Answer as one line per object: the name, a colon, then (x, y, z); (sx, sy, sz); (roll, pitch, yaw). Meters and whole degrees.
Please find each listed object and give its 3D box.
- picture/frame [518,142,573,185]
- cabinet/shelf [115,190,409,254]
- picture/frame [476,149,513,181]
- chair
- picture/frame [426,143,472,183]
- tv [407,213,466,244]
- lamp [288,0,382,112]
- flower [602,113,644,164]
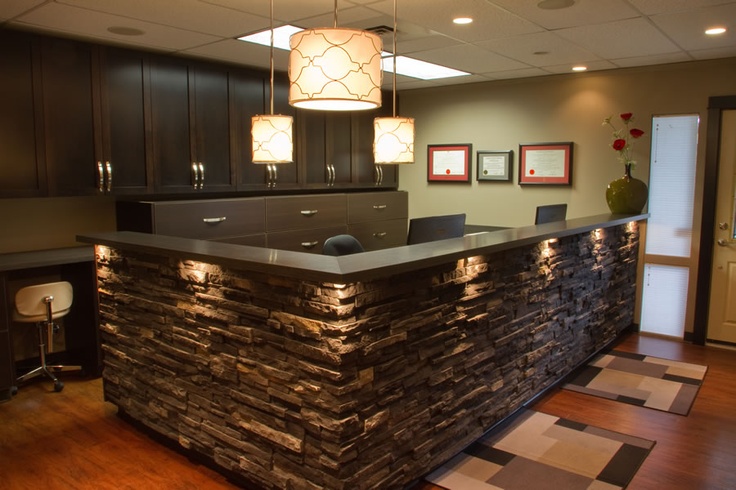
picture/frame: (2.185, -1.005, 6.144); (0.654, 0.475, 0.044); (3, 4, 26)
cabinet/shelf: (-0.908, -0.203, 5.767); (3.248, 0.751, 0.428); (-8, 14, -39)
picture/frame: (1.623, -1.015, 6.491); (0.054, 0.393, 0.520); (-15, 17, -40)
chair: (-2.986, 0.808, 4.652); (0.535, 0.963, 0.639); (-7, 13, -28)
picture/frame: (1.110, -1.117, 6.780); (0.670, 0.468, 0.064); (3, 7, 26)
tv: (0.513, -0.124, 3.811); (0.411, 0.207, 0.273); (-4, 13, -36)
lamp: (-0.174, -0.973, 2.797); (0.480, 0.401, 0.360); (1, 11, 9)
flower: (2.831, -1.189, 5.555); (0.433, 0.589, 0.561); (3, 11, 16)
